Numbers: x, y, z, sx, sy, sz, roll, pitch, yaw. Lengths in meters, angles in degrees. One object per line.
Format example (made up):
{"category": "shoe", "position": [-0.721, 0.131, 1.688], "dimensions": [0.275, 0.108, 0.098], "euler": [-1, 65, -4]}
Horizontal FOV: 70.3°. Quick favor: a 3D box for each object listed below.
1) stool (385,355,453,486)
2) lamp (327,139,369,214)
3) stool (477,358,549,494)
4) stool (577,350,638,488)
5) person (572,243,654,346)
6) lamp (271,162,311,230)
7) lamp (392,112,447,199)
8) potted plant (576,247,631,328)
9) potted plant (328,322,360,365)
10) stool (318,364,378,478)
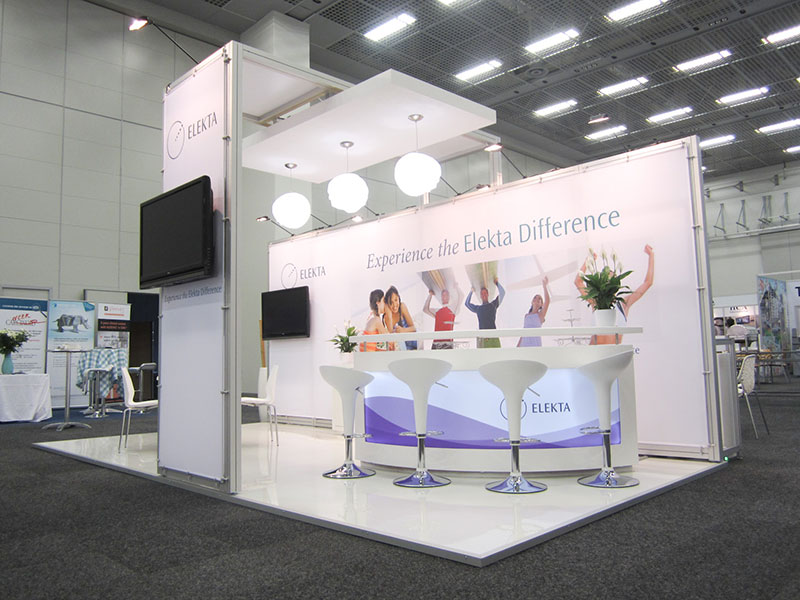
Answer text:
{"category": "stool", "position": [0.171, 1.063, 5.033], "dimensions": [0.539, 1.103, 0.568], "euler": [-1, -5, -19]}
{"category": "lamp", "position": [-0.672, -1.479, 7.295], "dimensions": [0.470, 0.859, 1.285], "euler": [-2, -5, -5]}
{"category": "stool", "position": [0.969, 1.029, 4.730], "dimensions": [0.529, 1.074, 0.535], "euler": [-3, -5, 8]}
{"category": "stool", "position": [1.773, 0.999, 4.870], "dimensions": [0.508, 1.107, 0.502], "euler": [-2, -5, 1]}
{"category": "person", "position": [2.386, -0.005, 6.613], "dimensions": [0.961, 1.470, 1.064], "euler": [2, -3, 19]}
{"category": "lamp", "position": [-1.673, -1.394, 8.628], "dimensions": [0.503, 0.979, 2.172], "euler": [-1, -5, -11]}
{"category": "lamp", "position": [0.194, -1.592, 6.789], "dimensions": [0.505, 0.861, 1.207], "euler": [-2, -5, 0]}
{"category": "potted plant", "position": [2.130, -0.163, 5.836], "dimensions": [0.582, 0.884, 1.068], "euler": [-4, -5, 17]}
{"category": "potted plant", "position": [-0.794, 0.633, 7.954], "dimensions": [0.606, 0.622, 0.561], "euler": [2, -8, -16]}
{"category": "stool", "position": [-0.509, 1.142, 5.452], "dimensions": [0.489, 1.042, 0.728], "euler": [-2, -5, -5]}
